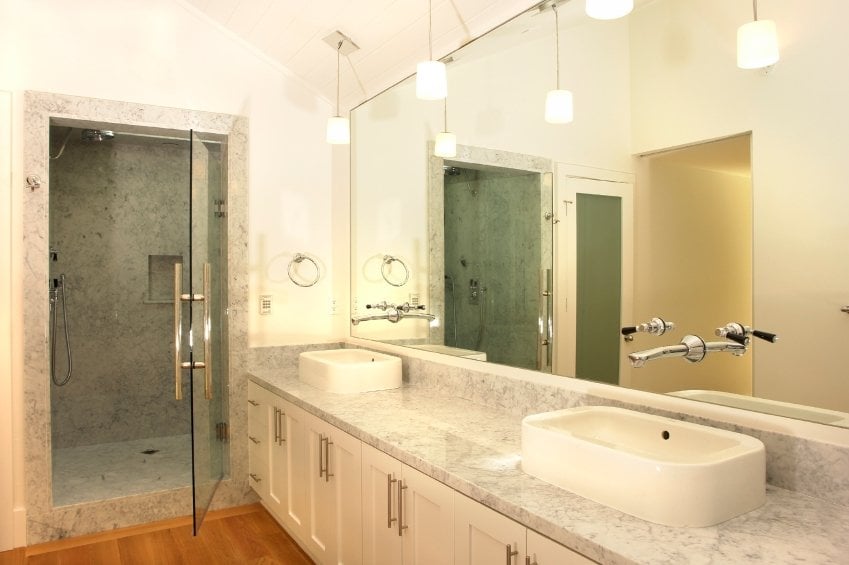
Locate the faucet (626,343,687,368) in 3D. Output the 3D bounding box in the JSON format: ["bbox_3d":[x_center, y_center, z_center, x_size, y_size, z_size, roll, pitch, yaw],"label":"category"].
[{"bbox_3d":[0.945,0.294,2.481,0.377,0.100,0.089,4,-5,-31],"label":"faucet"}]

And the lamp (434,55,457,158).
[{"bbox_3d":[0.113,-0.993,3.535,0.113,0.574,0.114,0,-9,-1],"label":"lamp"}]

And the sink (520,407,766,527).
[{"bbox_3d":[0.806,0.673,2.328,0.829,0.223,0.439,8,16,38],"label":"sink"}]

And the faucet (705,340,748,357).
[{"bbox_3d":[1.170,0.250,2.378,0.136,0.046,0.045,-9,-10,43],"label":"faucet"}]
